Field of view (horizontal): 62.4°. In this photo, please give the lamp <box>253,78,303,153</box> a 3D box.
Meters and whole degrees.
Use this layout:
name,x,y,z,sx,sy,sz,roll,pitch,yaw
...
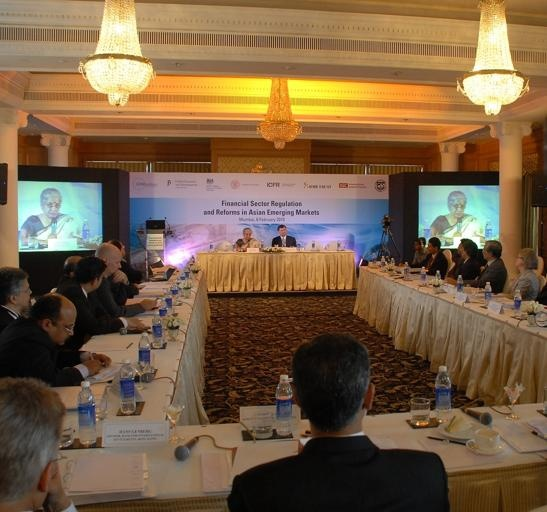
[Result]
name,x,y,z,sx,sy,sz,roll,pitch,yaw
lamp,0.118,-2.681,8.444,0.864,1.254,0.831,-4,9,-28

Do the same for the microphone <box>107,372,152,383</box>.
name,x,y,z,sx,sy,sz,roll,pitch,yaw
microphone,-0.740,0.631,2.356,0.162,0.033,0.141,1,0,-8

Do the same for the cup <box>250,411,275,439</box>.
name,x,y,z,sx,sy,sz,roll,pitch,yaw
cup,-0.041,0.712,1.920,0.088,0.079,0.083,0,-2,0
